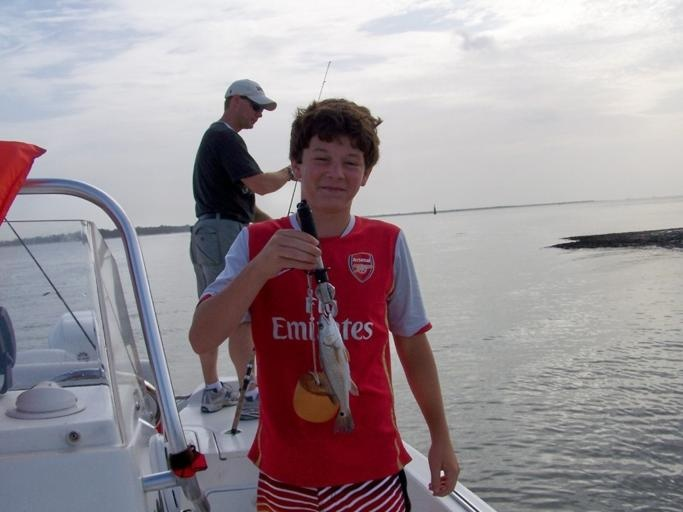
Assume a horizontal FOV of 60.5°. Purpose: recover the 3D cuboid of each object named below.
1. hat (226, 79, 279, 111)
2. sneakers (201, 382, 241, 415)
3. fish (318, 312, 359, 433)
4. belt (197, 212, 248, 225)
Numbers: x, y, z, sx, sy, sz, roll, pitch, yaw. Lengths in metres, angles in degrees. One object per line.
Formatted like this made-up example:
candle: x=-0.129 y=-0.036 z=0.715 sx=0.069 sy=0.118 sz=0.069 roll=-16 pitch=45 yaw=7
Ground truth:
hat: x=-0.638 y=-1.157 z=4.167 sx=0.281 sy=0.156 sz=0.184 roll=1 pitch=11 yaw=-1
sneakers: x=-0.777 y=0.899 z=3.798 sx=0.115 sy=0.146 sz=0.301 roll=0 pitch=1 yaw=26
fish: x=-0.018 y=0.394 z=1.992 sx=0.104 sy=0.439 sz=0.075 roll=-2 pitch=7 yaw=-1
belt: x=-0.774 y=-0.269 z=3.933 sx=0.127 sy=0.049 sz=0.160 roll=2 pitch=-7 yaw=41
